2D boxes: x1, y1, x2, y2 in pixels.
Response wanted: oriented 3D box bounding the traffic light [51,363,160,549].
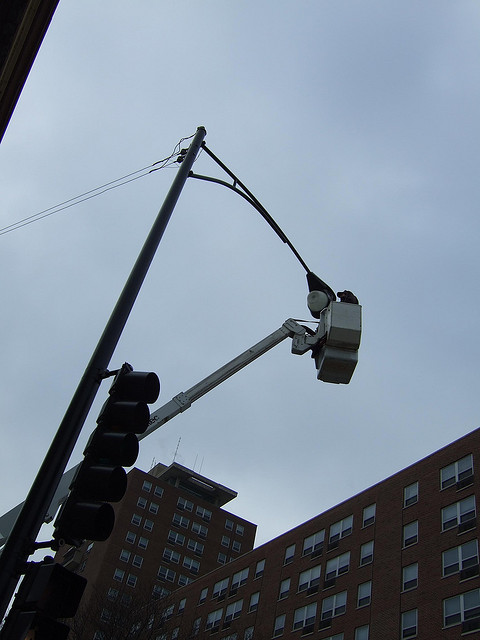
[{"bbox_3d":[-0.834,0.840,4.236,0.420,1.464,0.358,24,-43,-3],"label":"traffic light"}]
